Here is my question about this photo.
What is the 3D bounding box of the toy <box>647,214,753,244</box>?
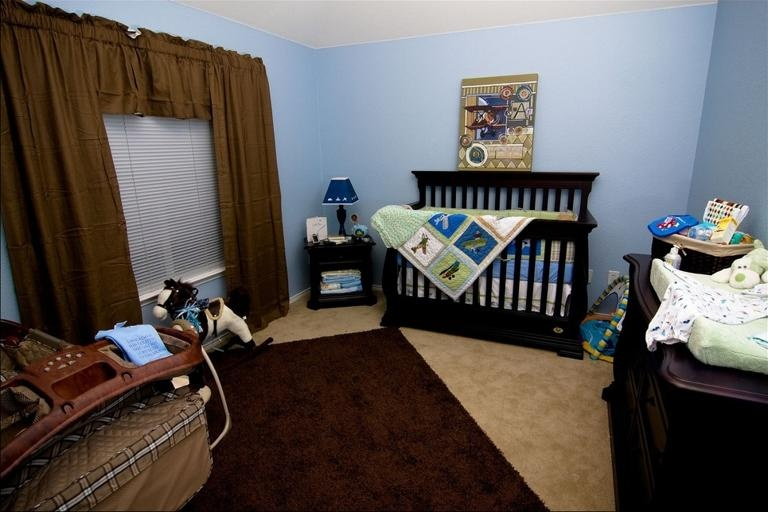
[{"bbox_3d":[1.835,-0.168,2.967,0.298,0.121,0.391,-6,18,-18],"label":"toy"}]

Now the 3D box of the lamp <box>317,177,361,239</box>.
[{"bbox_3d":[-0.386,-0.444,4.475,0.363,0.505,0.375,6,14,28],"label":"lamp"}]

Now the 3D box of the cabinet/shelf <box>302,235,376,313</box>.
[{"bbox_3d":[-0.435,0.173,4.589,0.625,0.551,0.440,-3,-1,-13],"label":"cabinet/shelf"}]
